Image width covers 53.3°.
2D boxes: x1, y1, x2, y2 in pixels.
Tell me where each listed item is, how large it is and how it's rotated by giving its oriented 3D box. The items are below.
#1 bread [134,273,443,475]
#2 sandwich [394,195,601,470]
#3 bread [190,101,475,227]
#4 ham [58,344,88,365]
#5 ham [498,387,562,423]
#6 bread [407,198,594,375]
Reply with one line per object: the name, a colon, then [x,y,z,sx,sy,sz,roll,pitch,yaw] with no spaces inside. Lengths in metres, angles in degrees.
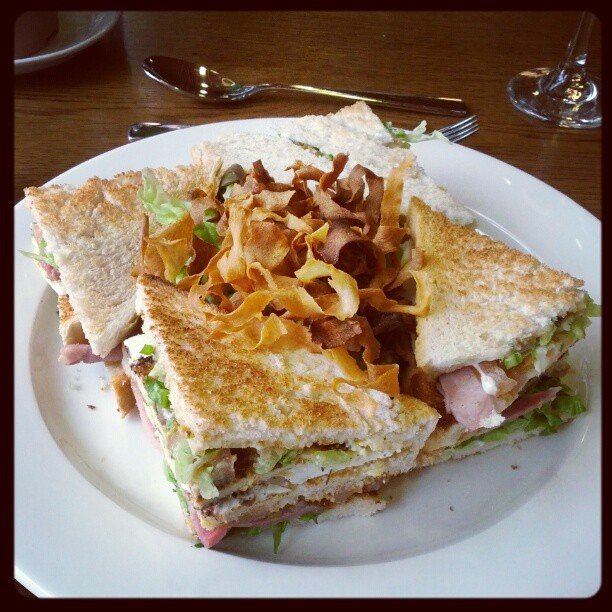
bread: [-0.157,0.186,1.796,0.814,0.434,0.734,-8,28,-23]
sandwich: [0.498,0.009,1.814,0.585,0.301,0.683,-10,53,-5]
bread: [0.111,-0.555,2.186,1.030,0.324,0.555,8,48,8]
ham: [-0.724,0.156,1.904,0.080,0.061,0.026,-27,24,5]
ham: [0.658,0.282,1.785,0.167,0.044,0.100,-18,36,-8]
bread: [0.435,-0.028,1.751,0.412,0.241,0.525,-27,52,-22]
